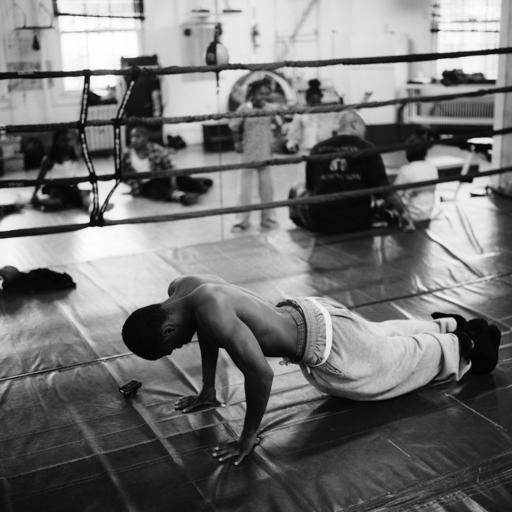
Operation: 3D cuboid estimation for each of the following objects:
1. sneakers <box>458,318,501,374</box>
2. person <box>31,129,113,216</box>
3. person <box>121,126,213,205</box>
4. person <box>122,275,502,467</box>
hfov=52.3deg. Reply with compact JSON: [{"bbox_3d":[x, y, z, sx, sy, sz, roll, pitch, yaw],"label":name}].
[{"bbox_3d":[0.867,0.334,2.010,0.178,0.199,0.080,-1,-1,21],"label":"sneakers"},{"bbox_3d":[-1.912,-0.818,5.023,0.537,0.743,0.720,-6,16,-23],"label":"person"},{"bbox_3d":[-0.865,-0.865,4.892,0.581,0.647,1.311,-7,15,-25],"label":"person"},{"bbox_3d":[0.265,0.284,1.731,1.272,0.442,0.576,-10,9,-12],"label":"person"}]
